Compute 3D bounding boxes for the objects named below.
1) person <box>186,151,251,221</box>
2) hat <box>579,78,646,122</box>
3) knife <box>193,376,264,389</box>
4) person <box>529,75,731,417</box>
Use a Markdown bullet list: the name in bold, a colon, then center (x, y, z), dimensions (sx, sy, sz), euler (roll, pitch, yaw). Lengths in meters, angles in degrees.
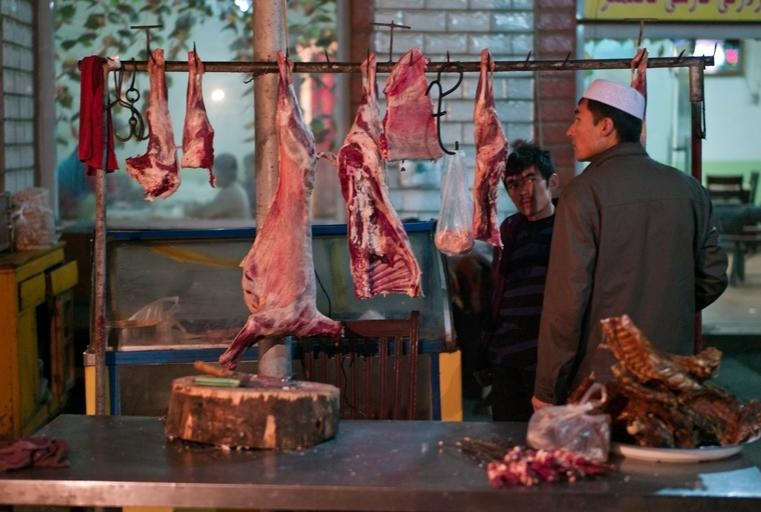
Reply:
- **person**: center (-1.367, -0.576, 9.837), dimensions (0.568, 0.812, 0.497), euler (1, 3, -5)
- **hat**: center (1.401, -0.942, 7.152), dimensions (0.396, 0.250, 0.188), euler (-2, 8, -2)
- **knife**: center (-0.877, 0.708, 6.805), dimensions (0.395, 0.055, 0.168), euler (-3, 8, -6)
- **person**: center (1.447, -0.101, 7.167), dimensions (1.203, 1.901, 0.357), euler (-4, 8, -14)
